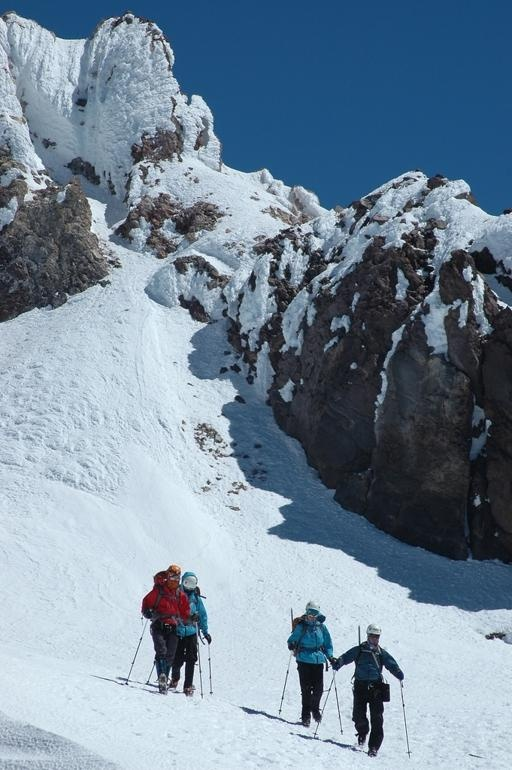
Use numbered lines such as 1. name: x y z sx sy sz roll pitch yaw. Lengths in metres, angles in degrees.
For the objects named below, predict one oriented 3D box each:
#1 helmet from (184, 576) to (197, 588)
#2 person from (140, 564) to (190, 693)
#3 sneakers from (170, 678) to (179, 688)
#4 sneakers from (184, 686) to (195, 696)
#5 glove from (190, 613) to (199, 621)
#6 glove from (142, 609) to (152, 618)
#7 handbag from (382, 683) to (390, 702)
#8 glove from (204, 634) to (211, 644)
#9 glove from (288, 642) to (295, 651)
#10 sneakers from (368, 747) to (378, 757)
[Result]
1. helmet: -1.960 5.977 45.838 0.302 0.327 0.395 4 -7 -15
2. person: -2.715 7.238 45.154 1.386 3.707 0.633 12 -14 -7
3. sneakers: -2.432 9.054 45.846 0.213 0.230 0.260 5 -38 -1
4. sneakers: -1.938 9.150 45.442 0.280 0.095 0.223 -15 -41 16
5. glove: -1.813 6.984 45.595 0.286 0.264 0.062 18 -16 -29
6. glove: -3.215 6.825 45.314 0.269 0.256 0.367 11 -14 -3
7. handbag: 3.803 8.977 44.452 0.193 0.475 0.175 -1 -18 37
8. glove: -1.422 7.590 45.429 0.131 0.512 0.166 5 -3 1
9. glove: 1.064 7.744 45.000 0.227 0.296 0.291 2 -19 0
10. sneakers: 3.417 10.738 44.400 0.150 0.198 0.295 7 -49 3
